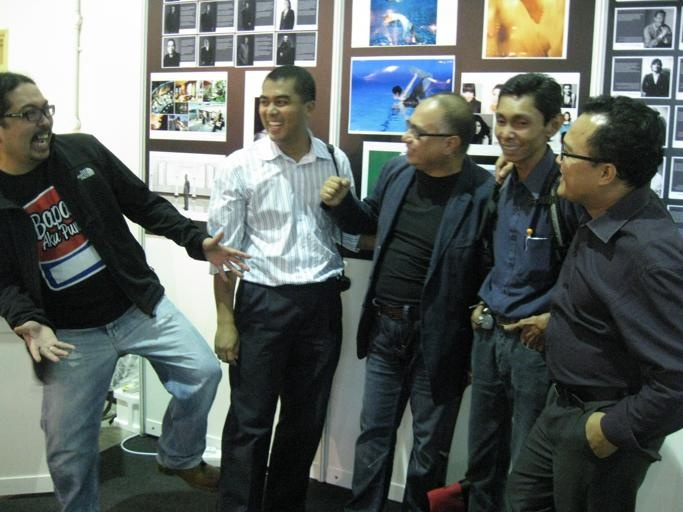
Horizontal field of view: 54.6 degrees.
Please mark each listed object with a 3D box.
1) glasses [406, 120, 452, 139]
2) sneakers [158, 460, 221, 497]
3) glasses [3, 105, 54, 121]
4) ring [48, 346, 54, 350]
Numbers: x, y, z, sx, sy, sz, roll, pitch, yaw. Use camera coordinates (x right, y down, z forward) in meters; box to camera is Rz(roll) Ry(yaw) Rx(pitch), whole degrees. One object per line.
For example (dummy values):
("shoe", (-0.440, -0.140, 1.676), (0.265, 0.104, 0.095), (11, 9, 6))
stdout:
("glasses", (0.411, -0.572, 3.091), (0.124, 0.038, 0.120), (3, 11, -21))
("sneakers", (-0.724, 1.119, 3.423), (0.377, 0.184, 0.136), (3, 23, 0))
("glasses", (-1.410, -0.632, 2.976), (0.091, 0.081, 0.204), (11, 15, 42))
("ring", (-1.280, 0.406, 2.920), (0.026, 0.014, 0.015), (3, 11, 10))
